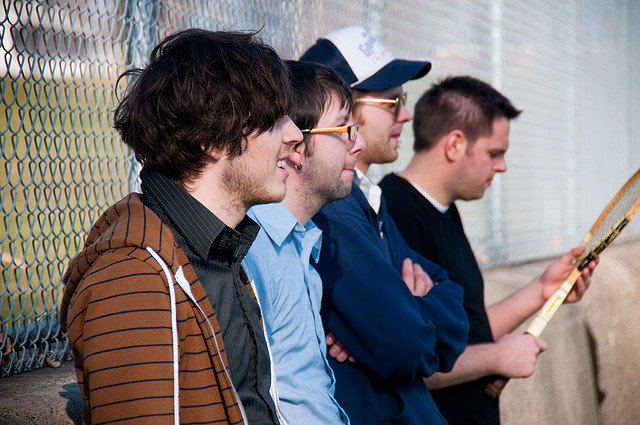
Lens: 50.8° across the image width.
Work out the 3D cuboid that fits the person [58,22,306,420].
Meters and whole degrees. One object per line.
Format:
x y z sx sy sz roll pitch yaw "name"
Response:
-0.671 0.113 3.236 0.776 1.854 1.272 6 19 33 "person"
